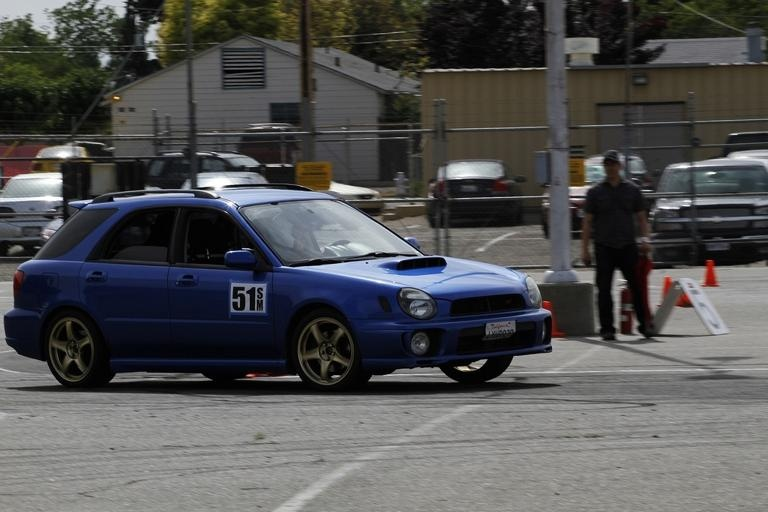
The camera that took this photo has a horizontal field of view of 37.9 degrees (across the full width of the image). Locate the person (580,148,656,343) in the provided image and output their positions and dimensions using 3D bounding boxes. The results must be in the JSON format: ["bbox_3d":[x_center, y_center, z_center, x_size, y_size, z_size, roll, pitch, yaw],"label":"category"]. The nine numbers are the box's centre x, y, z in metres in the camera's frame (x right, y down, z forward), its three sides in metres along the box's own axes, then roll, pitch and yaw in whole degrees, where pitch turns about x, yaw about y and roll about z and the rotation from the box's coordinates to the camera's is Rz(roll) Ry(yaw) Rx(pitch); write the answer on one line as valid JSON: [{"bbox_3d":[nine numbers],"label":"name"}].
[{"bbox_3d":[2.874,-0.136,13.941,0.803,2.314,0.956,-5,15,2],"label":"person"}]

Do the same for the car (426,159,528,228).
[{"bbox_3d":[1.671,-1.145,20.918,2.680,0.878,4.030,0,3,4],"label":"car"}]

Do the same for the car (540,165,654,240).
[{"bbox_3d":[4.415,-1.294,22.547,2.038,0.964,2.662,-1,-1,17],"label":"car"}]

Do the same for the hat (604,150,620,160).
[{"bbox_3d":[2.829,-1.263,14.041,0.249,0.112,0.301,-2,-1,12],"label":"hat"}]
